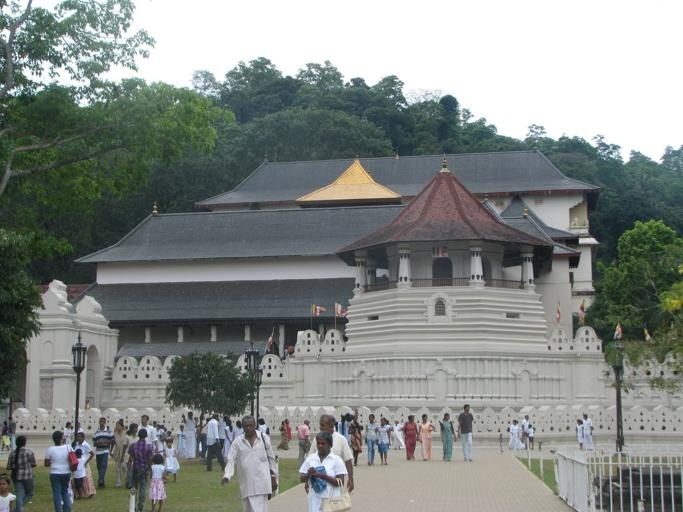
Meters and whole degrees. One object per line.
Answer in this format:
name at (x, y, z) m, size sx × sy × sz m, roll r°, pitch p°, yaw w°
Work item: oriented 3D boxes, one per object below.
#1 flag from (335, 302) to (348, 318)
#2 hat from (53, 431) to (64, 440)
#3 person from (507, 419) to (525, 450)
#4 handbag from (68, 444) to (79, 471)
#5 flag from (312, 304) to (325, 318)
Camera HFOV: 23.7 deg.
flag at (0.029, 2.548, 76.938) m, size 0.101 × 0.723 × 0.732 m, roll -1°, pitch 3°, yaw 30°
hat at (-9.083, 5.765, 52.376) m, size 0.302 × 0.314 × 0.344 m, roll 1°, pitch -12°, yaw -6°
person at (7.100, 7.206, 65.796) m, size 0.591 × 1.232 × 0.725 m, roll -9°, pitch -15°, yaw 36°
handbag at (-8.652, 6.596, 52.690) m, size 0.293 × 0.761 × 0.675 m, roll 2°, pitch -12°, yaw -7°
flag at (-1.085, 2.524, 75.976) m, size 0.576 × 0.407 × 0.662 m, roll 0°, pitch -4°, yaw -1°
